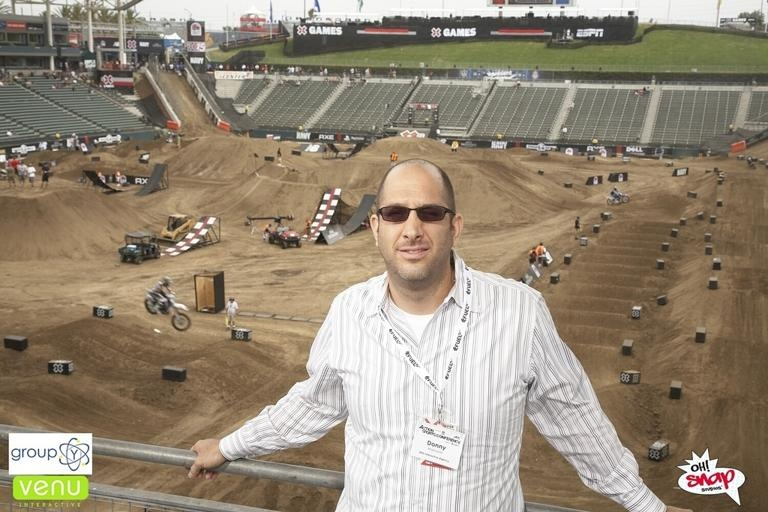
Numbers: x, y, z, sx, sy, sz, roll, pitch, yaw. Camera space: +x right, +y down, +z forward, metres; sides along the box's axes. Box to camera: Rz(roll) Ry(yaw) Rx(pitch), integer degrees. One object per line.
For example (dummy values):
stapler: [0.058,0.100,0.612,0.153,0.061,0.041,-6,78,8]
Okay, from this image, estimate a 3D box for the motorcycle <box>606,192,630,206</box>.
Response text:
motorcycle: [13.184,-3.226,35.587,1.380,0.603,0.672,-5,32,-11]
